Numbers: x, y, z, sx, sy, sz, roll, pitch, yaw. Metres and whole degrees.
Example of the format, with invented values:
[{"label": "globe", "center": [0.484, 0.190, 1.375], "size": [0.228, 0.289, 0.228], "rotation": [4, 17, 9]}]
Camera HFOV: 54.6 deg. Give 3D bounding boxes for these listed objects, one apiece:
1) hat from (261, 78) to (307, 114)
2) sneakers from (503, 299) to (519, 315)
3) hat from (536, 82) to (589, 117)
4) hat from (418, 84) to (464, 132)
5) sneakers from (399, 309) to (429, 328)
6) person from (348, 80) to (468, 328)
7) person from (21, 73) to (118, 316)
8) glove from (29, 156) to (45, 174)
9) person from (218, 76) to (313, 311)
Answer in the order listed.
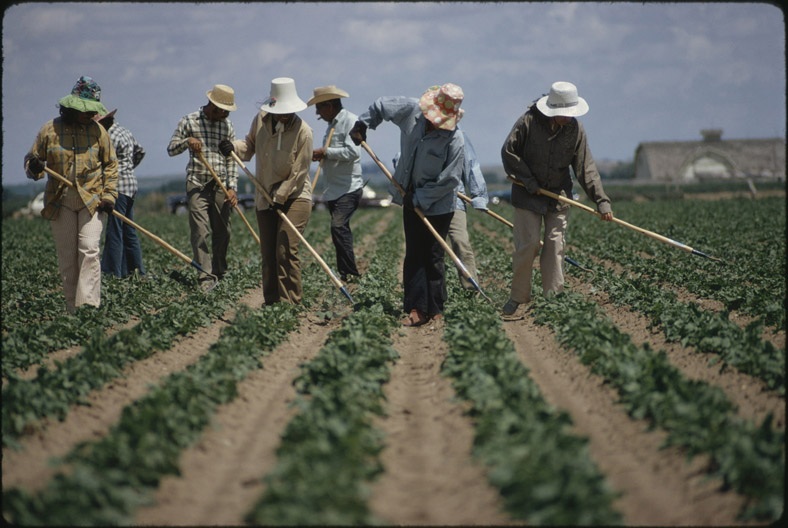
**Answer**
[{"label": "hat", "center": [-1.434, -2.204, 9.905], "size": [0.629, 0.354, 0.715], "rotation": [14, 29, 24]}, {"label": "sneakers", "center": [1.613, 0.587, 10.313], "size": [0.135, 0.250, 0.104], "rotation": [30, 15, -4]}, {"label": "hat", "center": [2.237, -2.131, 9.826], "size": [0.730, 0.307, 0.729], "rotation": [11, 32, 34]}, {"label": "hat", "center": [0.586, -1.859, 9.173], "size": [0.498, 0.543, 0.288], "rotation": [-3, 12, 2]}, {"label": "sneakers", "center": [0.282, 0.724, 9.981], "size": [0.288, 0.102, 0.217], "rotation": [-9, 26, -16]}, {"label": "person", "center": [0.342, -0.701, 9.770], "size": [1.361, 3.033, 0.703], "rotation": [2, 12, 21]}, {"label": "person", "center": [-4.108, -0.771, 9.830], "size": [1.071, 2.703, 0.508], "rotation": [-8, 13, -23]}, {"label": "glove", "center": [-4.538, -1.228, 9.647], "size": [0.163, 0.218, 0.215], "rotation": [5, 48, -14]}, {"label": "person", "center": [-1.519, -0.938, 10.157], "size": [0.933, 2.917, 0.911], "rotation": [-5, 12, -11]}]
